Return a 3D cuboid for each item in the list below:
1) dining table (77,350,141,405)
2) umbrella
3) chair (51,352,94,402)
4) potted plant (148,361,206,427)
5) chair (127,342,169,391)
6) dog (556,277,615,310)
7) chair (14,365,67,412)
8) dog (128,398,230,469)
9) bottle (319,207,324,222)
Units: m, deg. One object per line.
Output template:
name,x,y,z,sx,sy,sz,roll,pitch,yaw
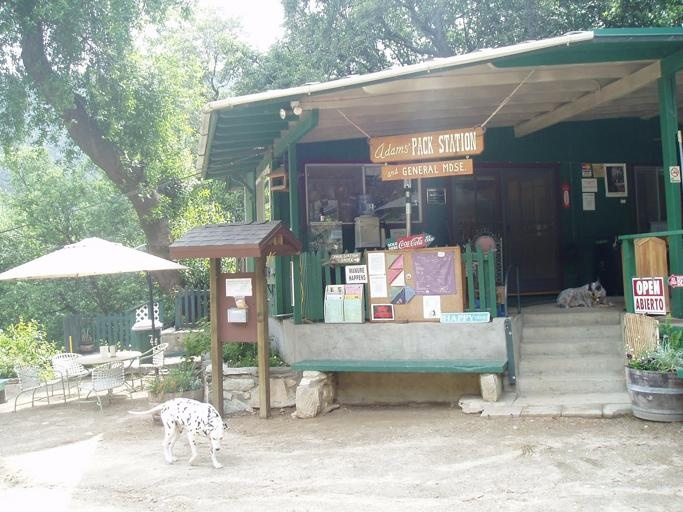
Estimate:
dining table,-4.313,2.311,11.416,0.921,0.647,1.003,-10,-3,29
umbrella,-7.487,1.489,18.637,4.122,2.877,4.312,-1,-1,-14
chair,-5.367,2.344,12.340,0.764,0.891,0.750,-8,-8,-1
potted plant,-2.773,2.298,10.687,0.811,0.840,0.505,3,-9,-27
chair,-4.311,2.485,13.815,0.912,1.283,0.984,3,-3,-29
dog,4.660,0.705,11.933,0.846,0.455,0.518,-5,-1,27
chair,-5.782,2.498,11.825,0.776,0.856,0.865,-6,-3,-16
dog,-2.113,2.272,8.011,1.664,0.819,0.351,3,-3,27
bottle,-0.370,-0.860,12.493,0.112,0.290,0.168,-4,3,-3
